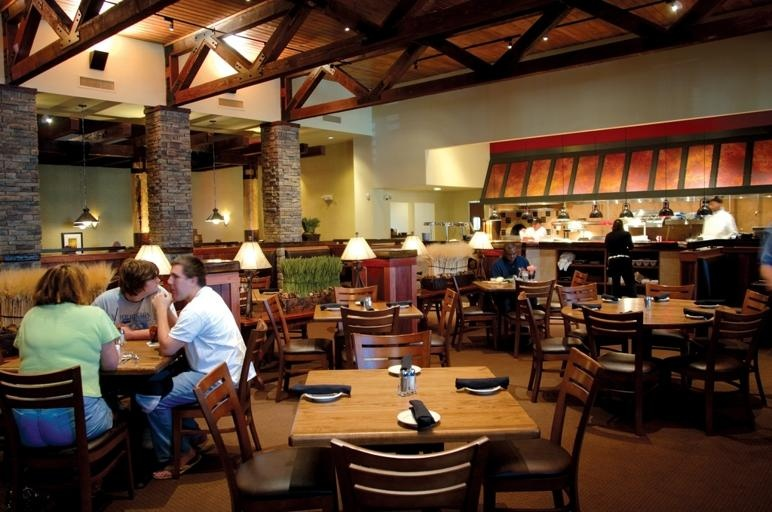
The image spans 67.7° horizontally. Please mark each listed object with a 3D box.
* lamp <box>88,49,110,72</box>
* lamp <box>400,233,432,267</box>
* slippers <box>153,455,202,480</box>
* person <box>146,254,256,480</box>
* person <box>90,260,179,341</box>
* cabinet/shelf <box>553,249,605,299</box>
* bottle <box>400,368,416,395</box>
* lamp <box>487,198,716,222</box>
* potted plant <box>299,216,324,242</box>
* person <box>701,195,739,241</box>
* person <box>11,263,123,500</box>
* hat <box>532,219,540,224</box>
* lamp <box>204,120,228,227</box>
[{"bbox_3d":[-5.616,-3.820,11.317,0.388,0.420,0.366,16,9,-14],"label":"lamp"},{"bbox_3d":[0.579,-0.087,10.529,0.608,0.621,0.588,-12,14,-43],"label":"lamp"},{"bbox_3d":[-2.100,2.122,5.754,0.171,0.108,0.466,-2,-2,29],"label":"slippers"},{"bbox_3d":[-1.953,1.090,5.772,1.059,2.192,0.520,-3,4,-11],"label":"person"},{"bbox_3d":[-2.841,0.494,6.299,0.938,0.832,0.537,2,4,-30],"label":"person"},{"bbox_3d":[3.737,0.312,11.022,1.025,0.905,0.330,0,0,29],"label":"cabinet/shelf"},{"bbox_3d":[0.182,1.080,4.959,0.138,0.227,0.095,-2,4,1],"label":"bottle"},{"bbox_3d":[4.936,-1.098,13.904,5.047,0.517,1.813,1,4,32],"label":"lamp"},{"bbox_3d":[-2.042,-0.723,15.510,0.728,0.799,0.756,-2,1,-5],"label":"potted plant"},{"bbox_3d":[6.645,-0.764,11.504,0.497,0.804,1.019,-2,4,-4],"label":"person"},{"bbox_3d":[-2.900,1.141,5.160,0.855,2.111,0.574,-1,4,11],"label":"person"},{"bbox_3d":[3.945,-0.907,15.118,0.217,0.198,0.114,3,17,13],"label":"hat"},{"bbox_3d":[-5.434,-2.257,18.357,0.664,2.500,5.569,-3,4,-17],"label":"lamp"}]
